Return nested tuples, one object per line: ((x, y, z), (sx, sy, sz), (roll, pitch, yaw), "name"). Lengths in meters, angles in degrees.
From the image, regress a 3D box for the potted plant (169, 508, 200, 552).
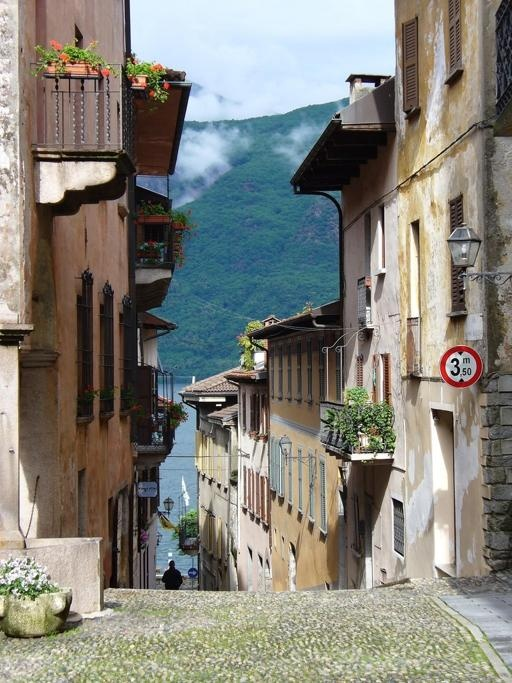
((-3.075, 8.319, 57.793), (1.842, 1.459, 2.832), (2, -8, -9), "potted plant")

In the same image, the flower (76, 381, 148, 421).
((-2.178, 0.888, 19.468), (0.413, 0.693, 1.514), (-7, -14, 30), "flower")
